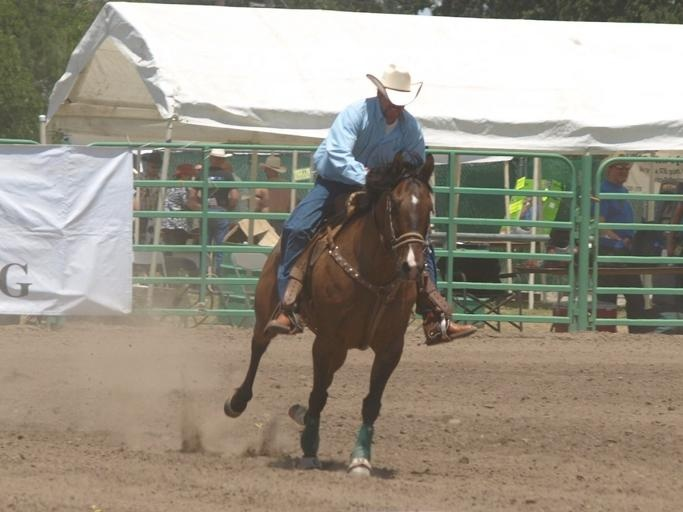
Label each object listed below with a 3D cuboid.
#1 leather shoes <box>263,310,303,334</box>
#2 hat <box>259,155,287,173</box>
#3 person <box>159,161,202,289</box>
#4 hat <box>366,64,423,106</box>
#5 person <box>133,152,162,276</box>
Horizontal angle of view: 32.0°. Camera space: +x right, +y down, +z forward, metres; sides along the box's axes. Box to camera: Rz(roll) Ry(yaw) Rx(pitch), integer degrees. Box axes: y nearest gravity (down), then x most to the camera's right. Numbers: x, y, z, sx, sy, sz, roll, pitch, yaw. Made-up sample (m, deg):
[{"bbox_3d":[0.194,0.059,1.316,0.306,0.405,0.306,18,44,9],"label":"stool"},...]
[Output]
[{"bbox_3d":[-0.653,0.774,13.468,0.189,0.209,0.503,41,-19,-14],"label":"leather shoes"},{"bbox_3d":[-1.019,-1.428,18.321,0.291,0.149,0.321,16,3,-21],"label":"hat"},{"bbox_3d":[-2.340,-0.534,17.223,0.425,1.624,0.358,1,-4,33],"label":"person"},{"bbox_3d":[0.582,-1.979,13.420,0.612,0.262,0.648,16,22,-29],"label":"hat"},{"bbox_3d":[-2.785,-0.637,17.103,0.331,1.788,0.238,4,-3,-9],"label":"person"}]
